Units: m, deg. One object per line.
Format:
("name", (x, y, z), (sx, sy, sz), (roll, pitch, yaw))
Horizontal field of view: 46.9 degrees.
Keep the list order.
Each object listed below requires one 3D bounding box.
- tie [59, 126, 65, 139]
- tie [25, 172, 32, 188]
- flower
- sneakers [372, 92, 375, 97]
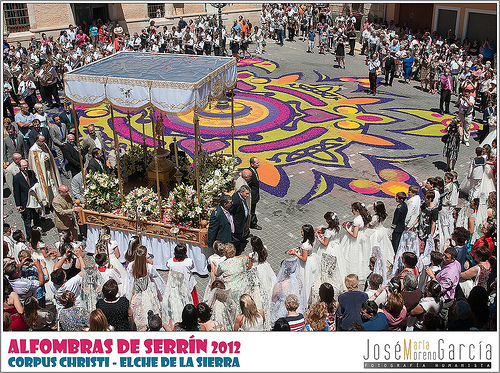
("tie", (-5.295, -1.546, 16.363), (0.231, 0.366, 0.089), (-4, -18, -14))
("tie", (-5.139, -0.139, 13.407), (0.116, 0.277, 0.178), (-3, 12, -20))
("flower", (-2.139, 0.301, 12.725), (2.005, 0.464, 1.969), (9, 31, 12))
("sneakers", (5.123, -3.784, 23.720), (0.158, 0.140, 0.056), (2, 0, -2))
